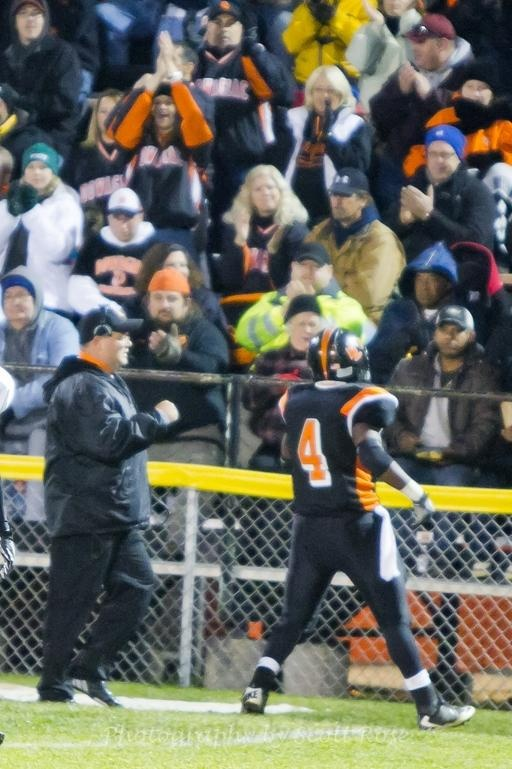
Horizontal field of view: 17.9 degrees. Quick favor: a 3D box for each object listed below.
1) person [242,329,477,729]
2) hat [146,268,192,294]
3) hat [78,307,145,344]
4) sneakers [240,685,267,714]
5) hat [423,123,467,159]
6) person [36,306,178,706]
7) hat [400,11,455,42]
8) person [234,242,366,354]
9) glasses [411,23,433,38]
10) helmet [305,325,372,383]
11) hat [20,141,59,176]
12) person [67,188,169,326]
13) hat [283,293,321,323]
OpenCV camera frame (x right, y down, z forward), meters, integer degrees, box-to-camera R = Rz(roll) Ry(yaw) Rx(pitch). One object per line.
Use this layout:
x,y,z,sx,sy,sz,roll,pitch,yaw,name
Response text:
0.484,0.670,7.889,0.997,1.827,0.822,2,10,5,person
-0.532,-0.631,10.227,0.179,0.116,0.224,3,-9,-2,hat
-0.742,-0.286,8.267,0.308,0.142,0.186,-19,8,-2,hat
0.000,1.522,7.779,0.111,0.142,0.154,10,7,16,sneakers
1.241,-1.566,10.514,0.264,0.221,0.148,1,9,1,hat
-0.728,0.607,8.112,0.661,1.922,0.693,1,10,-4,person
1.173,-2.385,10.816,0.273,0.122,0.167,5,27,4,hat
0.311,-0.516,9.984,0.706,1.094,0.400,-3,-39,17,person
1.123,-2.352,10.812,0.122,0.073,0.042,-10,5,15,glasses
0.424,-0.145,8.140,0.311,0.309,0.416,2,-1,27,helmet
-1.419,-1.515,10.780,0.255,0.154,0.233,8,-34,-1,hat
-0.863,-0.974,10.735,0.729,0.290,0.890,-7,-10,0,person
0.288,-0.449,9.865,0.226,0.177,0.180,2,9,3,hat
